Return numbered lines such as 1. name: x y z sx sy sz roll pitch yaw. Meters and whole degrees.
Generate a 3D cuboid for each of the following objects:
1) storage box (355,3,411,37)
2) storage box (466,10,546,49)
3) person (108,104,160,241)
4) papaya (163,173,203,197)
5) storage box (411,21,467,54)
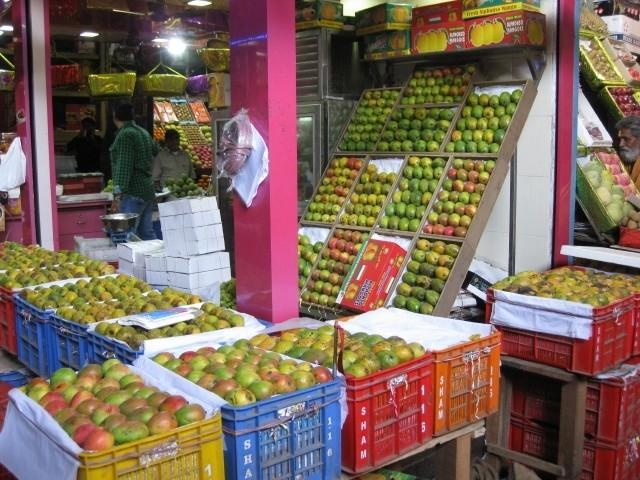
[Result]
1. storage box: 0.717 -2.499 6.708 0.289 0.353 0.662 -9 14 -38
2. storage box: 1.882 -2.068 5.919 0.817 0.331 0.545 12 19 39
3. person: -2.312 -0.845 7.200 0.596 1.655 0.555 2 3 35
4. papaya: -2.139 -0.827 9.155 0.534 0.286 0.448 -5 15 -20
5. storage box: 1.218 -2.118 6.215 0.537 0.321 0.263 4 6 43
